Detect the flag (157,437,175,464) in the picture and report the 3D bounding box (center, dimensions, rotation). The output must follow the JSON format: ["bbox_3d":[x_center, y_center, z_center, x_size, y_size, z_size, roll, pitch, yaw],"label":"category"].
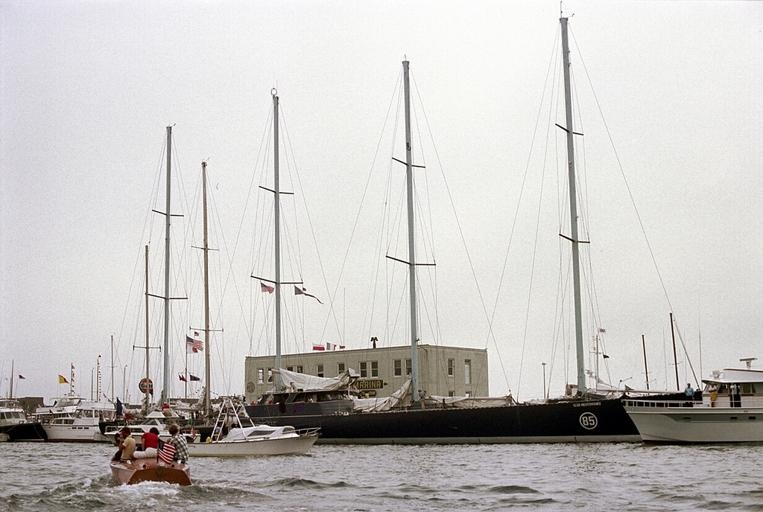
[{"bbox_3d":[-10.684,9.647,51.435,1.069,1.071,0.076,1,-5,14],"label":"flag"}]

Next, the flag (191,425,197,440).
[{"bbox_3d":[-12.494,11.723,69.102,0.341,0.381,0.985,-13,-3,-10],"label":"flag"}]
